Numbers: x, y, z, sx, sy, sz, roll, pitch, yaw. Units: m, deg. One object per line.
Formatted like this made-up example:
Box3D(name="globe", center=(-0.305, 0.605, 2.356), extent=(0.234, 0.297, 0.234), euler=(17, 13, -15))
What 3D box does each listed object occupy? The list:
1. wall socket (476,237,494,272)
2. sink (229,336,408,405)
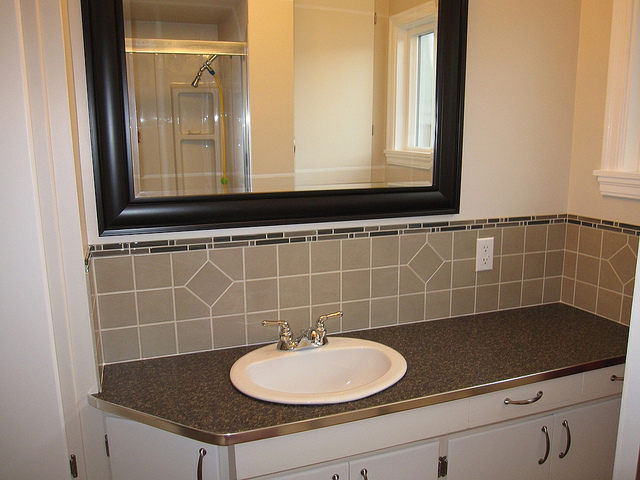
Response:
Box3D(name="wall socket", center=(0.745, 0.062, 2.313), extent=(0.094, 0.149, 0.018), euler=(-8, 11, -27))
Box3D(name="sink", center=(-0.003, 0.508, 1.863), extent=(0.639, 0.150, 0.386), euler=(-5, 11, -9))
